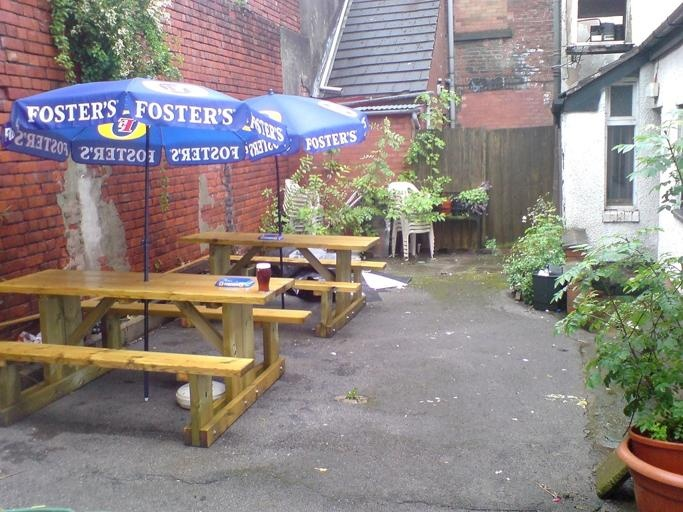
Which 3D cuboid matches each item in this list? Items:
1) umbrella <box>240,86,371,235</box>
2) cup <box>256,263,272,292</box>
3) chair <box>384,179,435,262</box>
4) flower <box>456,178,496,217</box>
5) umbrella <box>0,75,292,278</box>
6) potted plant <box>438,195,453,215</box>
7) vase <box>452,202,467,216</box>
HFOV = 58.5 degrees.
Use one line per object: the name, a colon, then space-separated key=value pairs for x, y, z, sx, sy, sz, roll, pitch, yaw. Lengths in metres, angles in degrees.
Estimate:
umbrella: x=-0.436 y=-1.324 z=8.415 sx=1.740 sy=1.520 sz=1.741 roll=4 pitch=11 yaw=-1
cup: x=-0.690 y=0.192 z=5.604 sx=0.125 sy=0.243 sz=0.259 roll=-3 pitch=14 yaw=-8
chair: x=1.371 y=-0.711 z=12.074 sx=0.959 sy=1.457 sz=0.825 roll=5 pitch=15 yaw=22
flower: x=2.659 y=-1.149 z=12.220 sx=0.735 sy=0.708 sz=0.524 roll=0 pitch=14 yaw=0
umbrella: x=-1.843 y=-0.736 z=7.018 sx=2.502 sy=2.393 sz=3.726 roll=0 pitch=14 yaw=1
potted plant: x=2.116 y=-1.029 z=12.302 sx=0.336 sy=0.357 sz=0.338 roll=1 pitch=9 yaw=10
vase: x=2.390 y=-0.967 z=12.311 sx=0.232 sy=0.230 sz=0.134 roll=11 pitch=20 yaw=34
